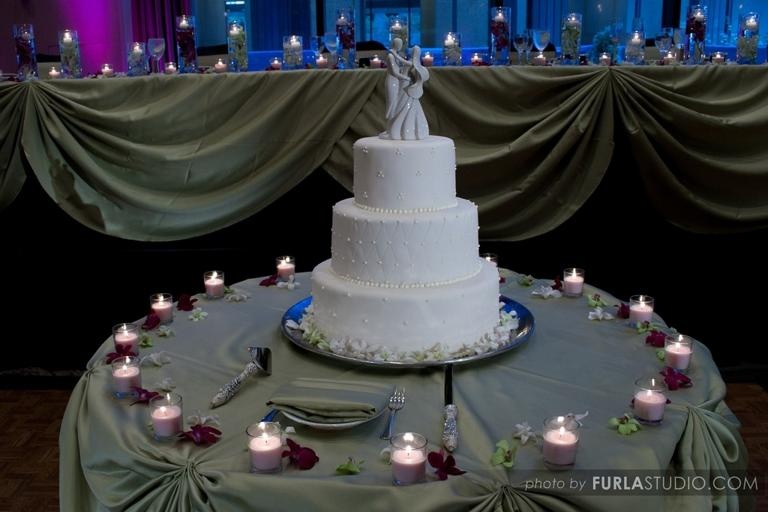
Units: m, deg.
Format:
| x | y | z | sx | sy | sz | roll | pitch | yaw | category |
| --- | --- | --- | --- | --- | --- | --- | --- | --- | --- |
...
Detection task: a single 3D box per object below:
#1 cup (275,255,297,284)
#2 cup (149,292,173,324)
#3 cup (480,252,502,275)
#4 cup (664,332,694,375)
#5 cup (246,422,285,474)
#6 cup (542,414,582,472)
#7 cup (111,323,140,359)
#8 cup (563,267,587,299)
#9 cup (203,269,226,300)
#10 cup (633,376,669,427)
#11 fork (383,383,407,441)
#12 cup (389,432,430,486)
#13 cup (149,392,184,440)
| x | y | z | sx | sy | sz | roll | pitch | yaw | category |
| --- | --- | --- | --- | --- | --- | --- | --- | --- | --- |
| -0.763 | 0.108 | 4.922 | 0.184 | 0.221 | 0.193 | 1 | 10 | 0 | cup |
| -1.524 | 0.355 | 4.337 | 0.182 | 0.212 | 0.180 | 4 | 12 | -1 | cup |
| 0.826 | 0.042 | 4.748 | 0.181 | 0.208 | 0.181 | -1 | 8 | 0 | cup |
| 1.737 | 0.591 | 3.760 | 0.186 | 0.221 | 0.193 | -1 | 14 | 0 | cup |
| -0.565 | 0.924 | 3.066 | 0.206 | 0.241 | 0.211 | 0 | 10 | 0 | cup |
| 0.857 | 0.911 | 3.046 | 0.177 | 0.206 | 0.234 | 1 | 11 | 8 | cup |
| -1.599 | 0.521 | 3.849 | 0.180 | 0.206 | 0.178 | 3 | 8 | 0 | cup |
| 1.404 | 0.202 | 4.659 | 0.181 | 0.215 | 0.186 | 0 | 6 | 0 | cup |
| -1.287 | 0.222 | 4.658 | 0.173 | 0.206 | 0.178 | 2 | 9 | 0 | cup |
| 1.376 | 0.759 | 3.316 | 0.196 | 0.234 | 0.204 | -3 | 19 | 1 | cup |
| 0.058 | 0.849 | 3.375 | 0.058 | 0.040 | 0.349 | 5 | 32 | 9 | fork |
| 0.106 | 0.946 | 2.979 | 0.210 | 0.244 | 0.214 | -1 | 8 | 0 | cup |
| -1.170 | 0.834 | 3.262 | 0.227 | 0.219 | 0.115 | 2 | 14 | 21 | cup |
